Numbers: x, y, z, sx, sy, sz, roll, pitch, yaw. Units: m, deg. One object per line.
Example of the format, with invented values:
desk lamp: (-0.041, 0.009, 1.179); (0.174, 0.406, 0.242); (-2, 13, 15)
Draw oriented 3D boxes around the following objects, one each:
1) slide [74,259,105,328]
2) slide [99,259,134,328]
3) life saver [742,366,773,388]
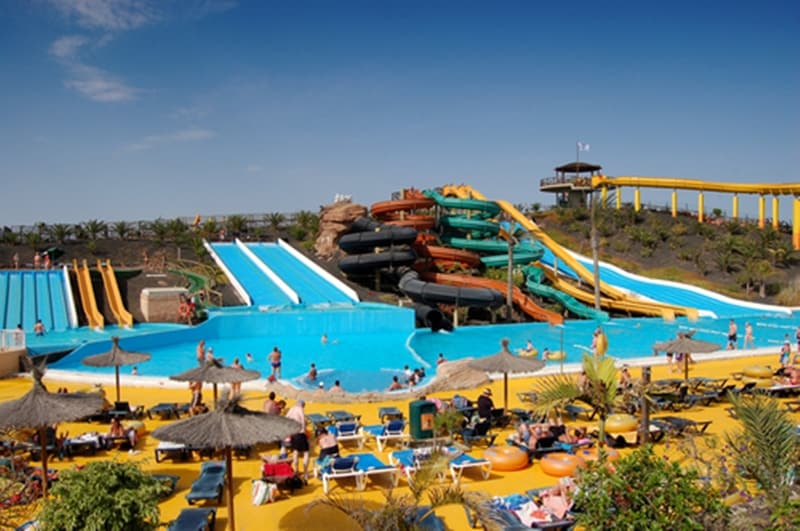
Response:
slide: (-14.340, 1.447, 28.955); (0.633, 3.451, 0.702); (0, -41, -41)
slide: (-13.460, 1.455, 29.738); (0.547, 3.492, 0.489); (-11, -31, -34)
life saver: (9.448, 2.929, 16.502); (0.630, 0.377, 0.583); (0, 1, 19)
